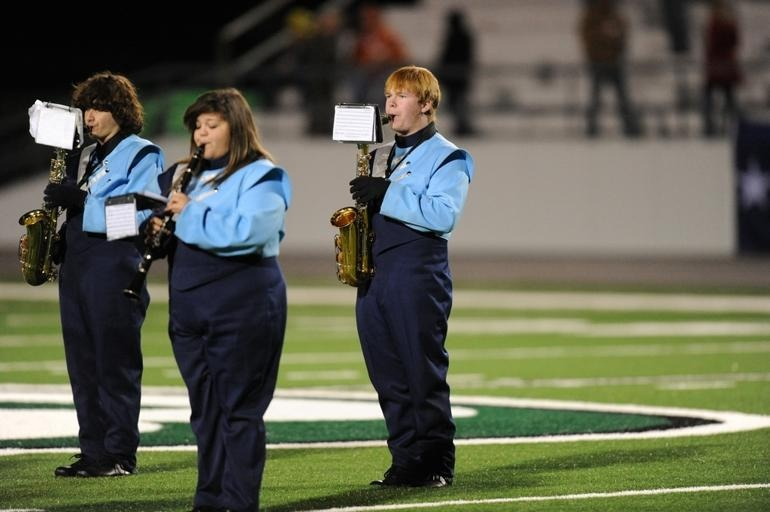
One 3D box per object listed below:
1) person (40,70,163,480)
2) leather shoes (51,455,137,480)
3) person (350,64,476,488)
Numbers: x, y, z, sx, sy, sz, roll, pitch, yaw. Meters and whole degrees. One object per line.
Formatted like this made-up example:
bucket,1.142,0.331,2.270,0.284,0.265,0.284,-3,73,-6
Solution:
person,-2.827,0.158,14.406,1.167,3.742,1.424,-1,3,-30
leather shoes,-2.748,1.963,14.142,0.732,0.182,0.183,-1,10,-4
person,0.254,0.176,13.941,1.076,3.829,0.801,0,11,3
